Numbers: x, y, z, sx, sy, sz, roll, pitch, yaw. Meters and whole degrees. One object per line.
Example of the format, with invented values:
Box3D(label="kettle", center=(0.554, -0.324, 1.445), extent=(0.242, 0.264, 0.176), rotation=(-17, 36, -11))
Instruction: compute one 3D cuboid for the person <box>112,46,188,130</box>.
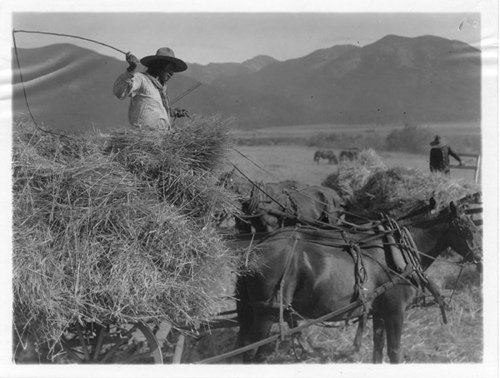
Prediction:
Box3D(label="person", center=(-1.453, -1.497, 10.838), extent=(1.061, 1.188, 1.048), rotation=(0, 8, -5))

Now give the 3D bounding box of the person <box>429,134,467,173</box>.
Box3D(label="person", center=(3.926, -0.679, 14.491), extent=(0.690, 1.122, 0.403), rotation=(-9, 3, -44))

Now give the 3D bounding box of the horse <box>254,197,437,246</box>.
Box3D(label="horse", center=(1.560, 0.463, 11.160), extent=(2.586, 0.422, 1.074), rotation=(0, -26, -15))

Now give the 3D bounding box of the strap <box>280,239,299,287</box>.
Box3D(label="strap", center=(0.559, 1.081, 10.348), extent=(0.068, 0.701, 0.094), rotation=(18, -20, 13))

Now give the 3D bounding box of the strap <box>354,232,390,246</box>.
Box3D(label="strap", center=(1.811, 0.741, 10.757), extent=(0.441, 0.066, 0.048), rotation=(-16, -30, -9))

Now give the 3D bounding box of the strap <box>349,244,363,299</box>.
Box3D(label="strap", center=(1.518, 1.165, 10.480), extent=(0.092, 0.893, 0.129), rotation=(0, -12, -45))

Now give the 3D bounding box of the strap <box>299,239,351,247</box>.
Box3D(label="strap", center=(1.086, 0.786, 10.624), extent=(0.429, 0.066, 0.052), rotation=(8, 0, -9))

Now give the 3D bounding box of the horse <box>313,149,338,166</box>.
Box3D(label="horse", center=(1.762, -0.776, 16.930), extent=(0.368, 0.269, 0.384), rotation=(7, -12, 32))
